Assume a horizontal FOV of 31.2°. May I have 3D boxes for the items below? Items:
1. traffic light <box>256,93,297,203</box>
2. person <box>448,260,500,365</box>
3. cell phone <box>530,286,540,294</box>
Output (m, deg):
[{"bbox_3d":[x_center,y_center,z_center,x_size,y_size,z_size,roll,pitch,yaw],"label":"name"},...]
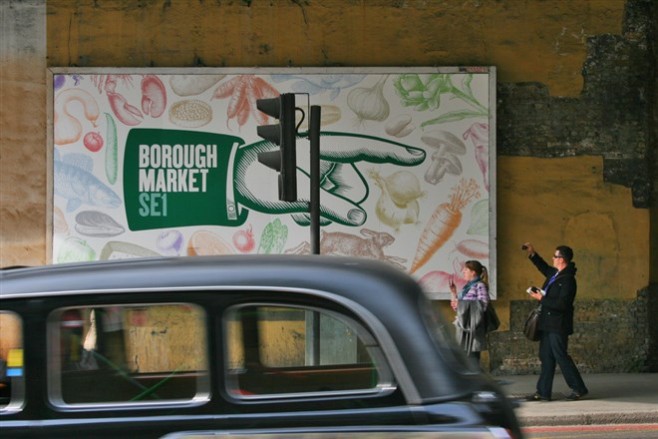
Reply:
[{"bbox_3d":[-0.837,-1.130,19.080,0.627,1.805,0.670,-1,15,-3],"label":"traffic light"},{"bbox_3d":[2.551,1.737,20.481,0.997,1.868,0.987,2,3,-11],"label":"person"},{"bbox_3d":[3.556,1.184,20.280,0.132,0.086,0.228,2,14,9],"label":"cell phone"}]
